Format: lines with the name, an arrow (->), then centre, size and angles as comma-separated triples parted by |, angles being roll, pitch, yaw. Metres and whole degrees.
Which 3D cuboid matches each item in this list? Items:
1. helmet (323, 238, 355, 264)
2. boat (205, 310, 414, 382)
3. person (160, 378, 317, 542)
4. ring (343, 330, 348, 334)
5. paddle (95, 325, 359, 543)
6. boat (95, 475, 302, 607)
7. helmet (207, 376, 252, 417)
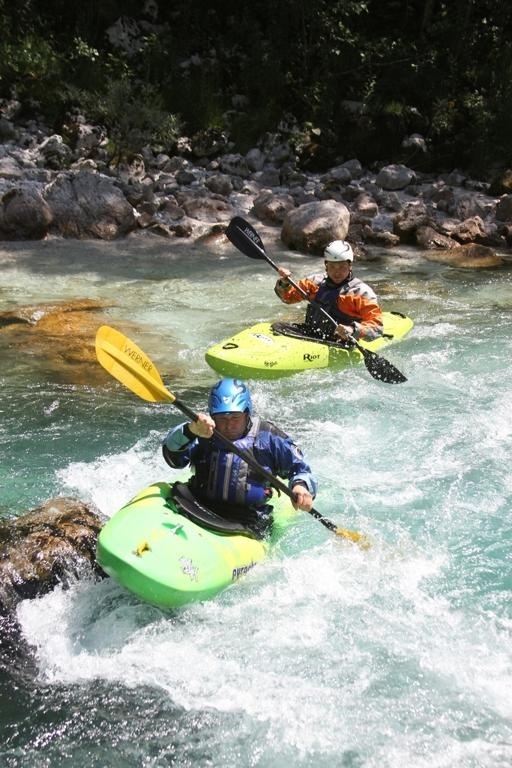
helmet -> 0.739, -1.163, 5.964 | 0.186, 0.182, 0.239 | 0, -16, 17
boat -> 0.609, -0.301, 6.149 | 2.101, 0.465, 0.654 | -14, 31, -28
person -> -0.097, 0.511, 3.294 | 0.738, 0.968, 0.512 | 9, 17, 6
ring -> 0.775, -0.439, 5.657 | 0.024, 0.012, 0.032 | 5, 46, -3
paddle -> -0.136, 0.312, 4.131 | 2.097, 0.292, 0.173 | 41, -15, -21
boat -> -0.290, 0.703, 3.078 | 0.510, 0.402, 0.964 | 7, 12, 27
helmet -> -0.131, 0.056, 3.205 | 0.153, 0.198, 0.162 | -2, 3, 2
